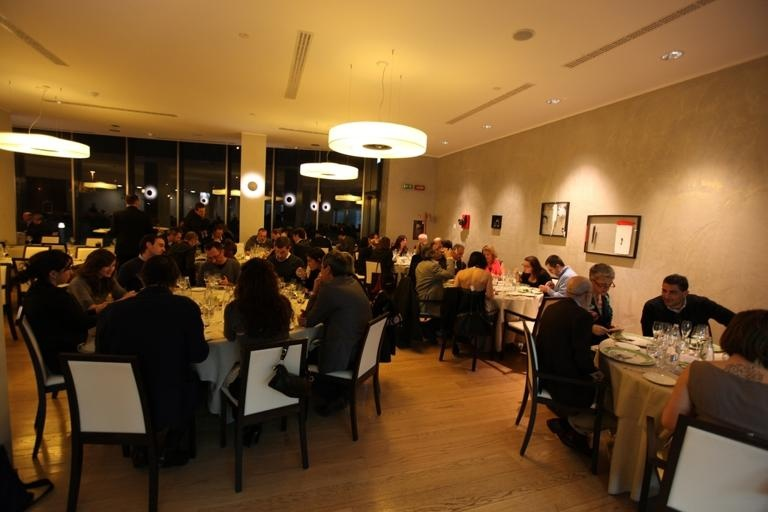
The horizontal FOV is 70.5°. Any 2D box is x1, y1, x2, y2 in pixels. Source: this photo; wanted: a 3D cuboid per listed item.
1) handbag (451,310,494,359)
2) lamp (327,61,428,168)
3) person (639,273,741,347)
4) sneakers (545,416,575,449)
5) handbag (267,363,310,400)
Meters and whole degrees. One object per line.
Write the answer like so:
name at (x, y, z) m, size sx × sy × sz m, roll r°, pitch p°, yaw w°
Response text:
handbag at (1.219, 1.074, 7.468) m, size 0.665 × 0.811 × 0.418 m, roll 0°, pitch -2°, yaw 0°
lamp at (-0.033, -1.932, 7.001) m, size 1.074 × 1.247 × 1.087 m, roll 0°, pitch -7°, yaw 21°
person at (3.572, 0.633, 6.274) m, size 0.755 × 1.180 × 0.369 m, roll -3°, pitch 3°, yaw 0°
sneakers at (1.969, 1.943, 6.100) m, size 0.179 × 0.155 × 0.444 m, roll -16°, pitch 16°, yaw 3°
handbag at (-0.941, 1.268, 5.417) m, size 0.412 × 0.393 × 0.183 m, roll 2°, pitch 6°, yaw -14°
